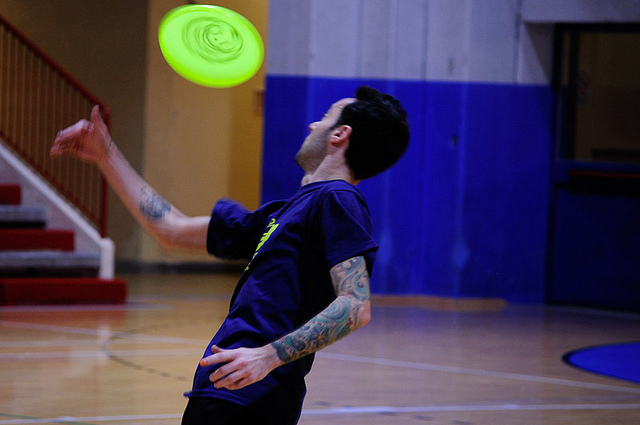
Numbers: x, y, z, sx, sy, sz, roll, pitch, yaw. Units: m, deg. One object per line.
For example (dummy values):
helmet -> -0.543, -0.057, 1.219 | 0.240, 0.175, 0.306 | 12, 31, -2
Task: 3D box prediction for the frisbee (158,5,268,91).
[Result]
frisbee -> -0.479, -0.739, 2.946 | 0.400, 0.382, 0.126 | 27, 37, -21
